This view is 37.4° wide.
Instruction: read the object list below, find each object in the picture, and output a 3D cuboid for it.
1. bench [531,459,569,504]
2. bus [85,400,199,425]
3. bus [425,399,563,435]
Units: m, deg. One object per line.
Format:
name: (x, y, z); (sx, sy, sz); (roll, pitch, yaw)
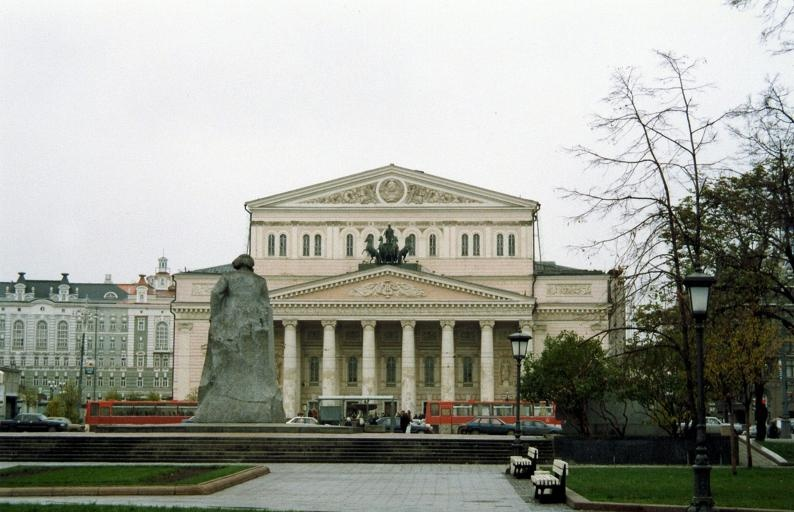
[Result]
bench: (5.858, 8.919, 45.578); (1.254, 1.346, 2.280); (1, -8, 1)
bus: (-16.256, 9.796, 74.868); (6.955, 1.536, 5.359); (-2, -10, 13)
bus: (6.647, 12.258, 85.836); (11.870, 3.038, 3.465); (-1, -6, 2)
